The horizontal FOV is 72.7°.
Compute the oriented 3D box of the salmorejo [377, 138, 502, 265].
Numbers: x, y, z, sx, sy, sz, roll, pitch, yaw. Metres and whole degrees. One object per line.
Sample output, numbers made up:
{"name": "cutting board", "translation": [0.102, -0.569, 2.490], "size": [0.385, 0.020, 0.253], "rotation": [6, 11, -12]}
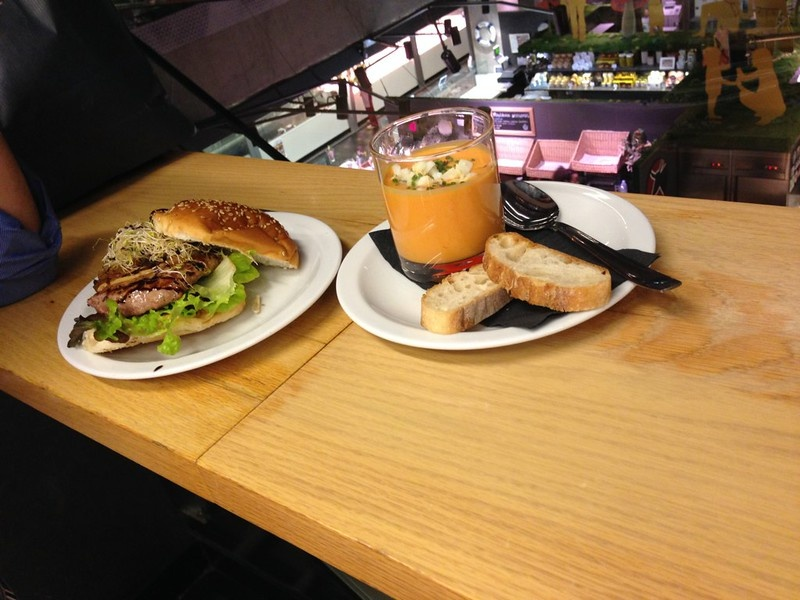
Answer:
{"name": "salmorejo", "translation": [0.074, -0.137, 0.869], "size": [0.140, 0.218, 0.117], "rotation": [4, 32, 23]}

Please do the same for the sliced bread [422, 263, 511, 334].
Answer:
{"name": "sliced bread", "translation": [0.082, -0.001, 0.776], "size": [0.074, 0.026, 0.134], "rotation": [31, 42, 26]}

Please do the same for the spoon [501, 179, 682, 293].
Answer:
{"name": "spoon", "translation": [0.265, -0.113, 0.848], "size": [0.099, 0.036, 0.372], "rotation": [-18, 29, -24]}
